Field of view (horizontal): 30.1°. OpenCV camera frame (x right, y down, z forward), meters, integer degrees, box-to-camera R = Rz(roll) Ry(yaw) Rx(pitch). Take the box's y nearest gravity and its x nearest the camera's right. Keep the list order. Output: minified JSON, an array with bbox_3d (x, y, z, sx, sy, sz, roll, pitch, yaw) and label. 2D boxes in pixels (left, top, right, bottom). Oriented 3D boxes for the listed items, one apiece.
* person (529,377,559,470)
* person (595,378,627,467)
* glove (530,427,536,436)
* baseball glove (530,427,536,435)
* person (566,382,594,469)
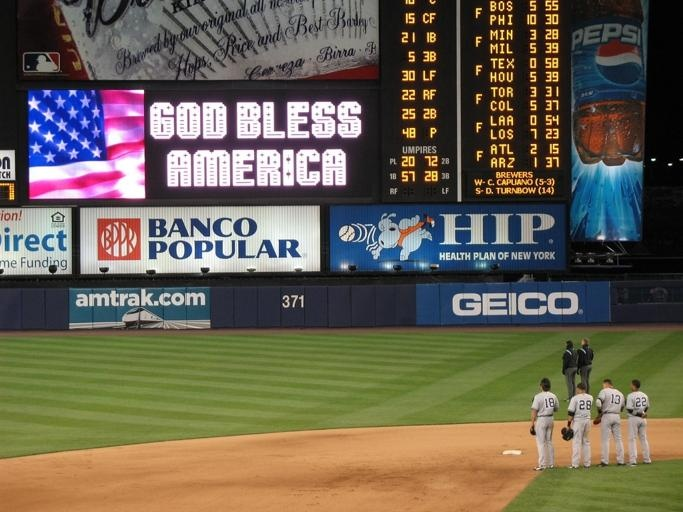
[{"bbox_3d":[5.840,4.711,36.359,1.033,2.409,0.967,4,6,16],"label":"person"},{"bbox_3d":[7.683,4.697,36.452,0.960,2.455,0.749,4,-12,-9],"label":"person"},{"bbox_3d":[5.400,4.876,35.872,0.150,0.210,0.218,2,-6,0],"label":"glove"},{"bbox_3d":[5.424,4.880,35.984,0.147,0.215,0.513,-2,-7,7],"label":"baseball glove"},{"bbox_3d":[6.837,4.773,36.319,0.681,2.392,0.960,-3,-6,10],"label":"person"}]
